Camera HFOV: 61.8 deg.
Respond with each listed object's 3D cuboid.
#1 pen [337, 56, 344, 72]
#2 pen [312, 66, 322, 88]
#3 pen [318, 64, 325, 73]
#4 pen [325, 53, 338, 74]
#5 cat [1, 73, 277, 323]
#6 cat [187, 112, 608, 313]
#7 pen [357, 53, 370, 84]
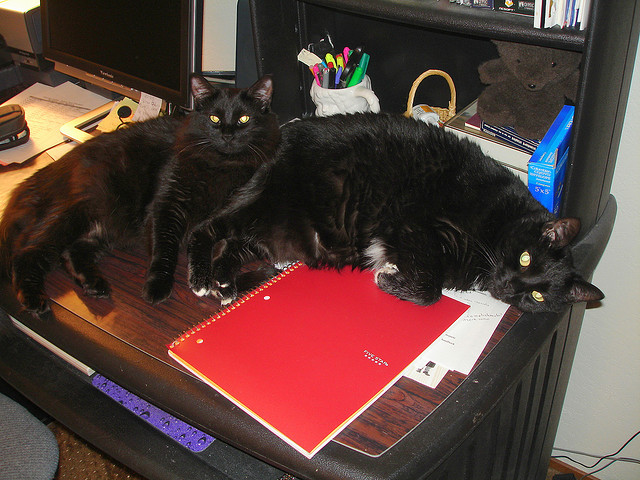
[{"bbox_3d":[0.064,-0.556,1.703,0.014,0.053,0.028,5,1,-44],"label":"pen"},{"bbox_3d":[-0.009,-0.520,1.702,0.011,0.059,0.029,-13,17,32],"label":"pen"},{"bbox_3d":[0.002,-0.545,1.685,0.020,0.031,0.008,5,3,0],"label":"pen"},{"bbox_3d":[0.034,-0.558,1.692,0.023,0.064,0.017,-22,12,9],"label":"pen"},{"bbox_3d":[-0.488,-0.107,1.674,0.930,0.572,0.430,-20,-10,-9],"label":"cat"},{"bbox_3d":[0.201,-0.071,1.407,0.865,0.260,0.580,19,63,25],"label":"cat"},{"bbox_3d":[0.127,-0.534,1.693,0.023,0.108,0.030,3,20,-27],"label":"pen"}]
